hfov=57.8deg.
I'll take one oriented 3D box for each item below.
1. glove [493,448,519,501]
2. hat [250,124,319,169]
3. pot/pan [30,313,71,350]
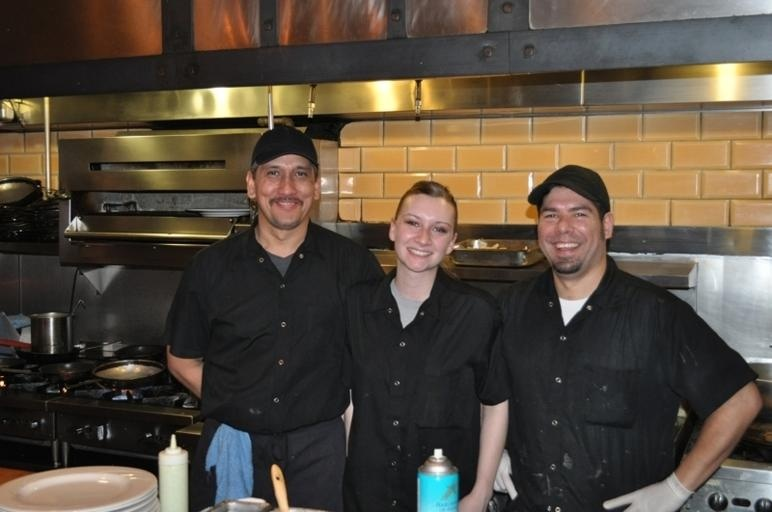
[{"bbox_3d":[0.440,0.814,2.566,0.062,0.146,0.117,-2,-3,-10],"label":"glove"},{"bbox_3d":[-0.391,-0.421,2.677,0.175,0.098,0.202,1,-6,-10],"label":"hat"},{"bbox_3d":[-1.923,0.445,4.094,0.233,0.185,0.224,0,-1,28],"label":"pot/pan"}]
